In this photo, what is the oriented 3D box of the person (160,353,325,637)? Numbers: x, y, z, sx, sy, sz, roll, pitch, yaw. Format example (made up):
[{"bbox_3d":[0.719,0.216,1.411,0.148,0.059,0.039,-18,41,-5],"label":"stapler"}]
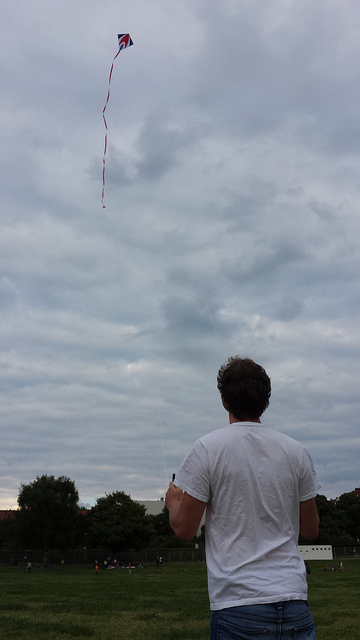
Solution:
[{"bbox_3d":[0.392,1.001,2.936,0.782,0.992,0.478,0,-11,-20],"label":"person"}]

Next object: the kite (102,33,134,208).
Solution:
[{"bbox_3d":[-1.991,-5.072,16.762,0.508,5.909,0.623,8,10,-5],"label":"kite"}]
